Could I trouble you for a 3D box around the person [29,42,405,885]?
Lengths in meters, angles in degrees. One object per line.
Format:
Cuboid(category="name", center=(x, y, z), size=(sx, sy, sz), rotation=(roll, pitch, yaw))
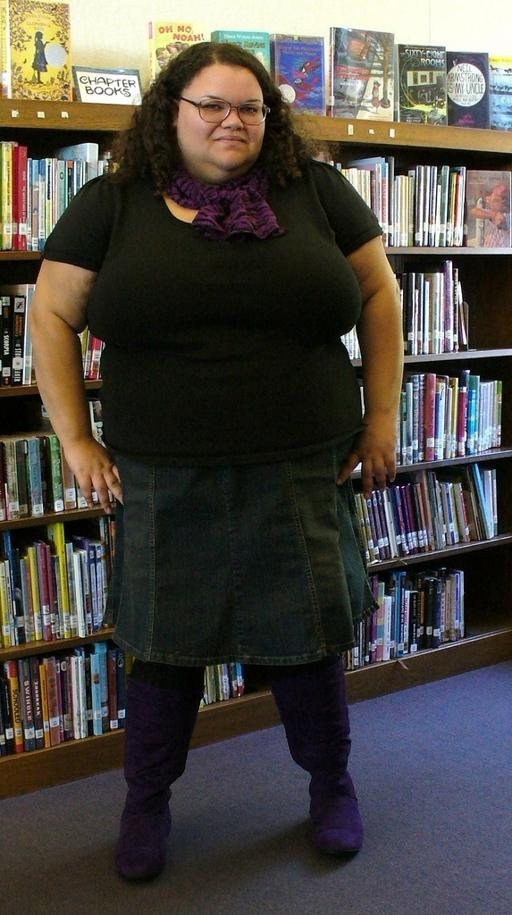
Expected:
Cuboid(category="person", center=(-0.059, -0.126, 1.026), size=(0.594, 0.921, 0.390), rotation=(-2, -2, 6))
